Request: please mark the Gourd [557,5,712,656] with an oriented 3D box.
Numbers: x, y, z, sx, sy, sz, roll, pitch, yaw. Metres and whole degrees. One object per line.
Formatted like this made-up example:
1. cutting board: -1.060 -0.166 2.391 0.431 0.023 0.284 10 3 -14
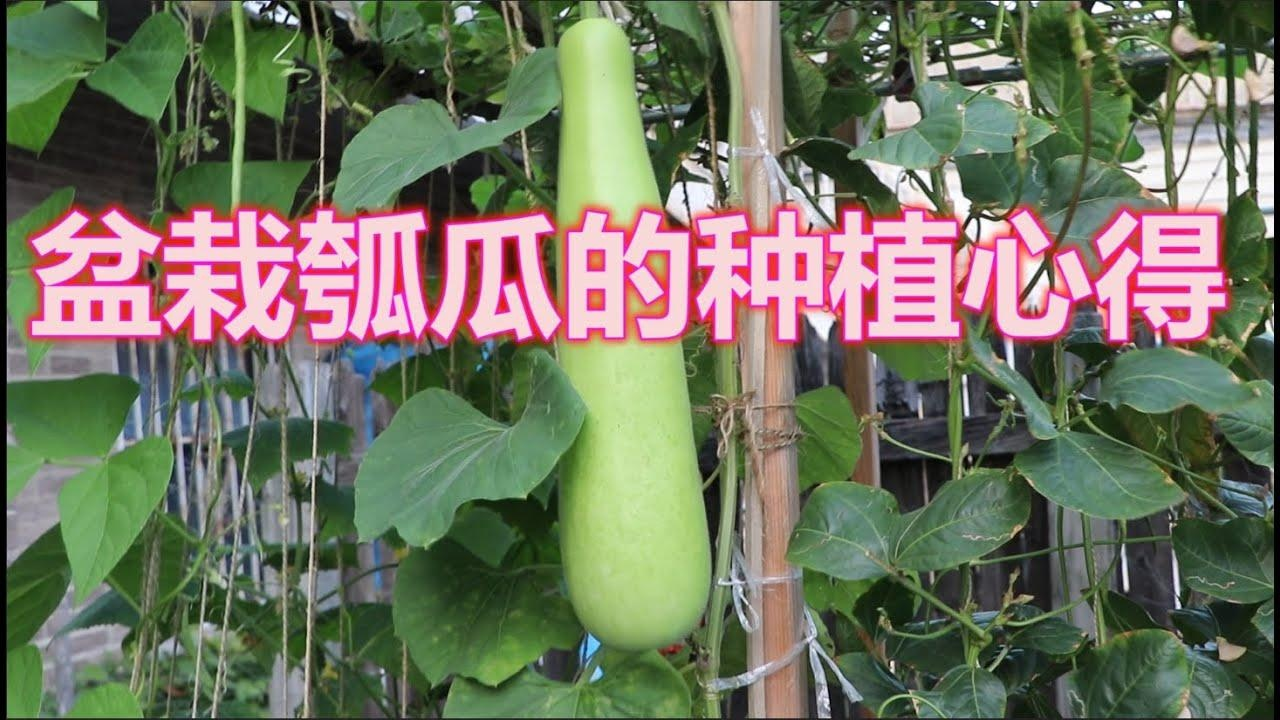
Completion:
1. Gourd: -0.005 -0.048 2.601 0.236 1.185 0.274 -1 -2 5
